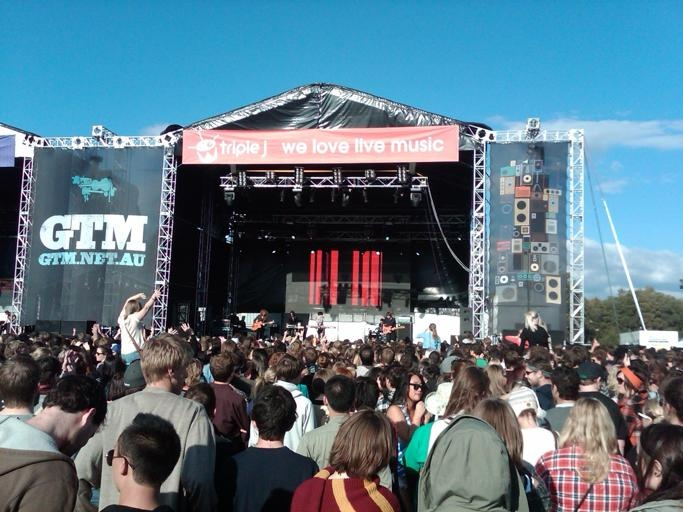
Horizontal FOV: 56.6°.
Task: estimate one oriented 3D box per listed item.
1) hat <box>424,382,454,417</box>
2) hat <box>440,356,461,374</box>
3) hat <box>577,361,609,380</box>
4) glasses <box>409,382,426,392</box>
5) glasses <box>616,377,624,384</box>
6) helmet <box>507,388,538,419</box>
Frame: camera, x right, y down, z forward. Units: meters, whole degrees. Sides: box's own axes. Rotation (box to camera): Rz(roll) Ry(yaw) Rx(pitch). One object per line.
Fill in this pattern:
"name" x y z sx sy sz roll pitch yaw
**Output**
"hat" 0.836 1.230 5.404 0.220 0.293 0.460 2 -9 3
"hat" 1.369 1.389 8.044 0.292 0.134 0.403 -12 -9 3
"hat" 2.612 1.249 6.614 0.252 0.163 0.364 -1 5 30
"glasses" 0.698 1.211 5.877 0.144 0.067 0.064 10 -11 -41
"glasses" 3.008 1.344 6.830 0.063 0.064 0.067 -2 -6 29
"helmet" 1.576 1.238 5.542 0.246 0.314 0.349 0 12 21
